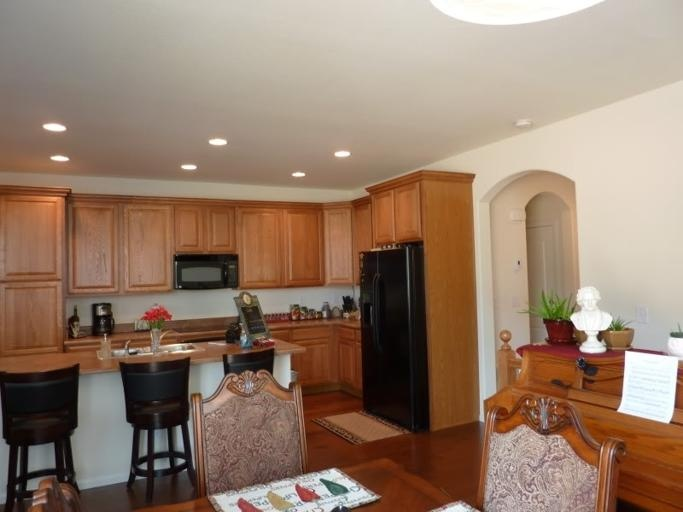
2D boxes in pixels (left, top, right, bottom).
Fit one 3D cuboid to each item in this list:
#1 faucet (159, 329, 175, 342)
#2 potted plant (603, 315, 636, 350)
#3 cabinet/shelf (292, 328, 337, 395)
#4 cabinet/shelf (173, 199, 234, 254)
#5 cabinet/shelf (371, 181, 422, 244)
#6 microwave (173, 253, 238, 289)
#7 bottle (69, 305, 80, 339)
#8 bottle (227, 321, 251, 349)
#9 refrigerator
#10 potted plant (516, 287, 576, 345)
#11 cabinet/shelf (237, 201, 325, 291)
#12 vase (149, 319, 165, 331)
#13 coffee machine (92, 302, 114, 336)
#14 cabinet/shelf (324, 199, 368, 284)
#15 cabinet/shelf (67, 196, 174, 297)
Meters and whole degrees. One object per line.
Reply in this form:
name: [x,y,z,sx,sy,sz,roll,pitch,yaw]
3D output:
faucet: [-1.919,0.880,5.423,0.221,0.058,0.312,-1,0,-8]
potted plant: [1.758,0.497,3.143,0.178,0.166,0.176,-6,2,-6]
cabinet/shelf: [-0.361,1.267,6.312,0.677,0.534,0.178,-1,0,-37]
cabinet/shelf: [-1.692,-0.354,6.248,0.813,0.677,0.300,0,6,-7]
cabinet/shelf: [0.478,-0.458,5.330,0.300,0.661,0.852,9,18,44]
microwave: [-1.768,0.224,6.251,0.819,0.467,0.483,0,-3,-31]
bottle: [-3.017,0.737,5.567,0.113,0.335,0.380,-1,0,-27]
bottle: [-0.935,0.757,4.695,0.181,0.228,0.247,-6,-11,35]
refrigerator: [0.543,0.800,5.207,0.289,1.879,0.850,-1,1,-26]
potted plant: [1.508,0.432,3.490,0.246,0.340,0.359,-1,0,19]
cabinet/shelf: [-0.848,-0.146,6.539,1.330,1.122,0.531,1,-3,-29]
vase: [-1.646,0.610,4.397,0.115,0.074,0.158,-1,0,-22]
coffee machine: [-2.755,0.723,5.713,0.235,0.346,0.278,-1,0,-26]
cabinet/shelf: [0.054,-0.239,7.056,0.670,1.198,0.723,4,8,10]
cabinet/shelf: [-2.597,-0.121,5.689,1.314,1.132,0.449,1,-3,-24]
